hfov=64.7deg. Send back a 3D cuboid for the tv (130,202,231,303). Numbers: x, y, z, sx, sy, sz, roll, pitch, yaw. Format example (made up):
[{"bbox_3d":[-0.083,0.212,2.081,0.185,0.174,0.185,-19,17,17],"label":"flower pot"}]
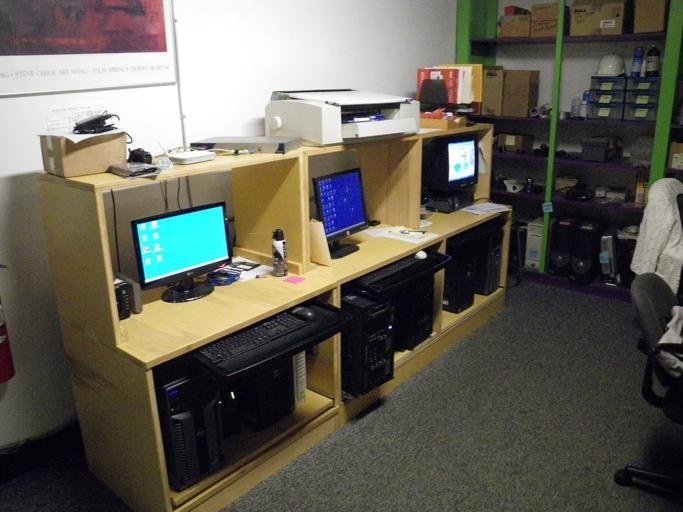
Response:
[{"bbox_3d":[-0.846,-0.009,2.796,0.181,0.340,0.446,13,22,35],"label":"tv"}]

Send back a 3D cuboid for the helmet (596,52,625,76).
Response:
[{"bbox_3d":[2.260,-1.598,4.515,0.182,0.249,0.233,2,12,20],"label":"helmet"}]

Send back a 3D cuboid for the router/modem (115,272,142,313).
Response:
[{"bbox_3d":[-1.038,0.183,2.599,0.091,0.179,0.162,-11,-4,-29],"label":"router/modem"}]

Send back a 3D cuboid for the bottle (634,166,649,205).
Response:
[{"bbox_3d":[2.522,-0.583,4.526,0.088,0.281,0.198,5,4,13],"label":"bottle"}]

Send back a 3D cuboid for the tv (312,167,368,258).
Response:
[{"bbox_3d":[-0.012,-0.258,3.400,0.160,0.470,0.494,4,23,30],"label":"tv"}]

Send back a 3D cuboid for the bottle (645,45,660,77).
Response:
[{"bbox_3d":[2.568,-1.611,4.425,0.119,0.215,0.258,10,25,27],"label":"bottle"}]

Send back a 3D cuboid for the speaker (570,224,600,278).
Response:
[{"bbox_3d":[2.130,-0.062,4.710,0.197,0.486,0.368,6,14,29],"label":"speaker"}]

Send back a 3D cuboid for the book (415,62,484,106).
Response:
[{"bbox_3d":[0.845,-1.397,4.412,0.657,0.310,0.352,-20,28,-36],"label":"book"}]

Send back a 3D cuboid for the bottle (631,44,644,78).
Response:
[{"bbox_3d":[2.450,-1.608,4.444,0.085,0.219,0.326,9,25,26],"label":"bottle"}]

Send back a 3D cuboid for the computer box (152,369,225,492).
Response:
[{"bbox_3d":[-0.728,0.830,2.576,0.266,0.468,0.290,0,8,38],"label":"computer box"}]

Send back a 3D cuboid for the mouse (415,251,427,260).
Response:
[{"bbox_3d":[0.514,-0.010,3.469,0.050,0.026,0.061,7,23,22],"label":"mouse"}]

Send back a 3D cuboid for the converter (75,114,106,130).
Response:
[{"bbox_3d":[-1.110,-0.596,2.360,0.101,0.033,0.075,-8,20,-18],"label":"converter"}]

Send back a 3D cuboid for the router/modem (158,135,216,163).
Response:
[{"bbox_3d":[-0.789,-0.539,2.759,0.255,0.077,0.516,-7,23,-12],"label":"router/modem"}]

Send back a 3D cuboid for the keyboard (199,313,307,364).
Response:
[{"bbox_3d":[-0.428,0.393,2.591,0.555,0.026,0.173,-21,29,-38],"label":"keyboard"}]
